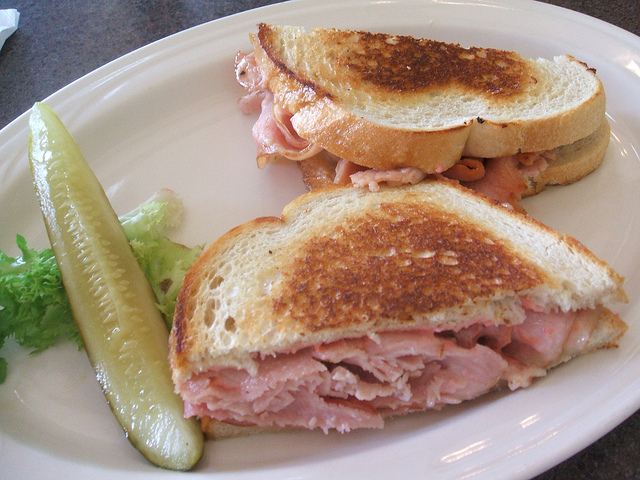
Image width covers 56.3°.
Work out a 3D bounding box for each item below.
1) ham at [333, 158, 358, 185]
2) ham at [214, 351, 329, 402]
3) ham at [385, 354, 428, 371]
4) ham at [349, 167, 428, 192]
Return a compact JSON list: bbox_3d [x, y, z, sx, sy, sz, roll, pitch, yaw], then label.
[{"bbox_3d":[0.118,-0.315,2.794,0.131,0.046,0.112,12,87,6],"label":"ham"},{"bbox_3d":[-0.211,0.527,2.343,0.365,0.104,0.217,-11,49,-11],"label":"ham"},{"bbox_3d":[0.347,0.485,2.395,0.097,0.033,0.096,-13,36,-19],"label":"ham"},{"bbox_3d":[0.306,-0.293,2.684,0.348,0.182,0.109,-11,102,-35],"label":"ham"}]
